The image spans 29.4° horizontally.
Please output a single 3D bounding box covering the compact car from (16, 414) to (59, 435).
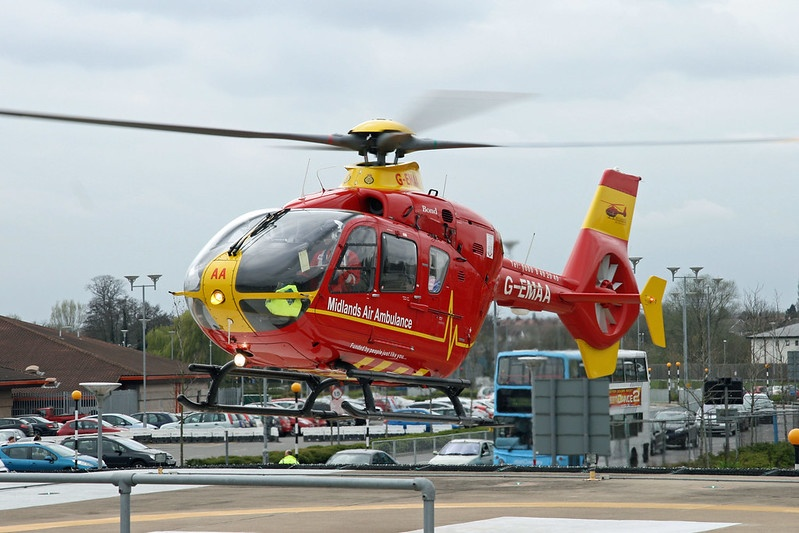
[{"bbox_3d":[-18.751,8.135,78.918,2.461,0.634,0.970,6,2,12],"label":"compact car"}]

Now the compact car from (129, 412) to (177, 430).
[{"bbox_3d":[-12.819,7.810,78.876,2.205,0.595,0.984,4,1,8],"label":"compact car"}]

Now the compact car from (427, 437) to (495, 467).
[{"bbox_3d":[2.453,7.263,60.082,1.249,0.763,1.911,-2,-5,24],"label":"compact car"}]

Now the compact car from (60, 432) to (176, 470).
[{"bbox_3d":[-11.830,7.696,63.398,4.510,1.230,2.160,-1,-1,9],"label":"compact car"}]

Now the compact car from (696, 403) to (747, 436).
[{"bbox_3d":[14.028,6.578,66.499,2.723,1.437,5.383,-2,-6,16],"label":"compact car"}]

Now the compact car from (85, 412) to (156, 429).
[{"bbox_3d":[-14.055,7.931,77.255,3.001,0.817,1.283,-1,1,4],"label":"compact car"}]

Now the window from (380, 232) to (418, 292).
[{"bbox_3d":[-0.064,-0.109,44.582,1.175,1.667,0.290,6,-11,-28],"label":"window"}]
